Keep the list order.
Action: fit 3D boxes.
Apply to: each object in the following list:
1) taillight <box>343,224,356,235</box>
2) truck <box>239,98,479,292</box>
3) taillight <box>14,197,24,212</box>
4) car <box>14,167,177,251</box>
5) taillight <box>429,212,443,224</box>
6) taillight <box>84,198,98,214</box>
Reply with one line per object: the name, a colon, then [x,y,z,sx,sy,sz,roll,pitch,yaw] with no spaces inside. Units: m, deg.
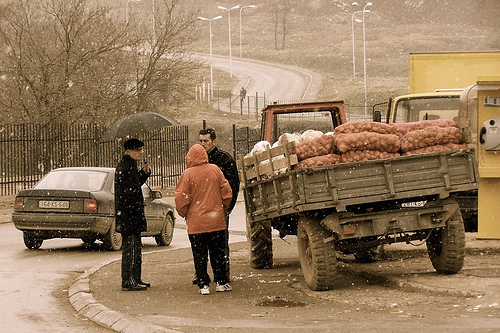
taillight: [1.924,1.189,17.009,0.272,0.249,0.151,0,-4,-4]
truck: [1.641,0.413,19.135,3.189,3.266,5.073,-2,5,-17]
taillight: [-5.662,0.897,21.627,0.184,0.280,0.446,-18,9,-41]
car: [-3.757,0.970,22.595,2.148,1.536,3.725,1,3,27]
taillight: [3.657,0.987,17.258,0.271,0.219,0.081,-14,8,-20]
taillight: [-3.822,0.932,21.211,0.320,0.341,0.320,-2,-4,-13]
